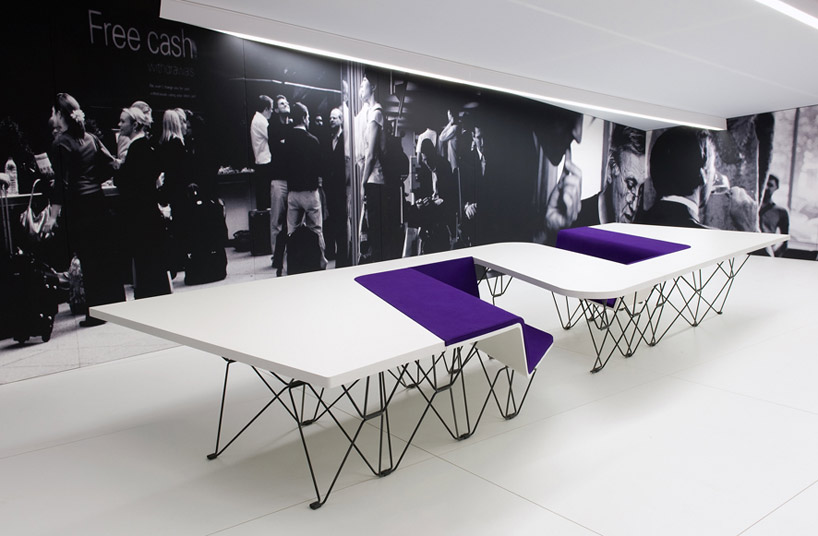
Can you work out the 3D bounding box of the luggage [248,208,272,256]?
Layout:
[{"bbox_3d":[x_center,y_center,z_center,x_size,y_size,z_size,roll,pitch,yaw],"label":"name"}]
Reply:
[{"bbox_3d":[-1.803,-0.422,6.575,0.304,0.529,0.172,-10,18,-44],"label":"luggage"}]

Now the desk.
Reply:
[{"bbox_3d":[0.373,0.703,5.079,5.567,1.719,2.195,-6,11,-35],"label":"desk"}]
